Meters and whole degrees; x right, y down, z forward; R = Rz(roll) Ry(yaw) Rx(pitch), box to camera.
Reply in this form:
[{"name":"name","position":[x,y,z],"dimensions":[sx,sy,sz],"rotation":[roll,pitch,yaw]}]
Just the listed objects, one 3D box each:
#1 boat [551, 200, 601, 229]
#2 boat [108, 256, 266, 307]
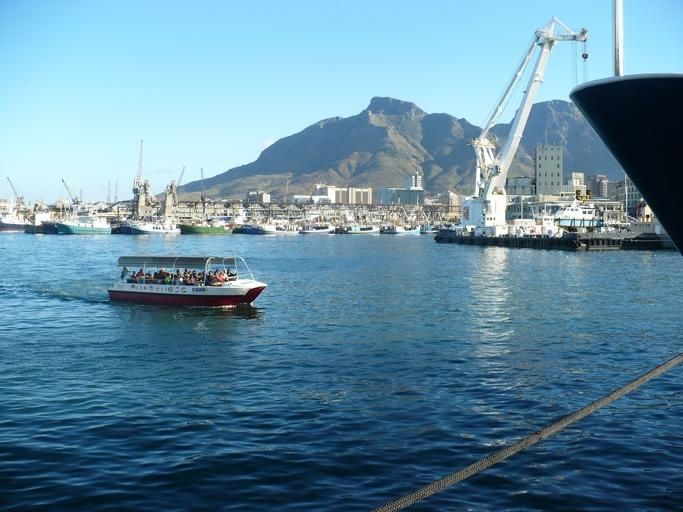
[{"name":"boat","position":[44.179,-7.480,155.729],"dimensions":[10.791,3.572,5.012],"rotation":[2,-2,-29]},{"name":"boat","position":[-11.264,1.469,60.455],"dimensions":[11.812,2.660,3.646],"rotation":[2,14,22]}]
